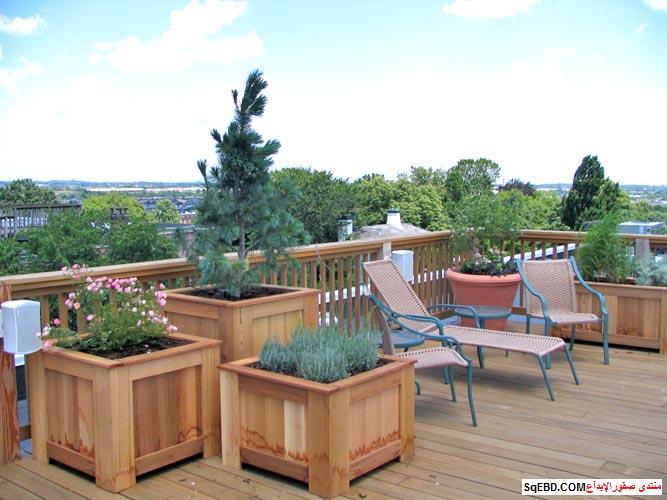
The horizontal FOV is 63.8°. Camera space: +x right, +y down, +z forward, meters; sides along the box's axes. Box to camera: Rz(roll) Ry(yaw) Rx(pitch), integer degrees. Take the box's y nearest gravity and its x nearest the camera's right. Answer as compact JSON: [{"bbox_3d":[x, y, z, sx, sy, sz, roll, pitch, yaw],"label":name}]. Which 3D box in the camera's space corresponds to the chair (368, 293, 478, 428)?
[{"bbox_3d":[0.683,0.775,4.518,0.906,1.399,0.835,-4,4,-5],"label":"chair"}]

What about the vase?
[{"bbox_3d":[-1.316,0.839,3.457,0.888,0.829,0.913,0,1,39],"label":"vase"}]

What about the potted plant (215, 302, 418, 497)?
[{"bbox_3d":[-0.036,0.879,3.356,0.820,0.641,0.839,1,2,41],"label":"potted plant"}]

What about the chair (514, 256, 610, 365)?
[{"bbox_3d":[2.396,0.652,5.660,0.700,1.101,0.753,-2,3,0],"label":"chair"}]

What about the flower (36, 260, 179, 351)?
[{"bbox_3d":[-1.374,0.433,3.688,0.500,0.520,0.700,-11,-7,-35],"label":"flower"}]
